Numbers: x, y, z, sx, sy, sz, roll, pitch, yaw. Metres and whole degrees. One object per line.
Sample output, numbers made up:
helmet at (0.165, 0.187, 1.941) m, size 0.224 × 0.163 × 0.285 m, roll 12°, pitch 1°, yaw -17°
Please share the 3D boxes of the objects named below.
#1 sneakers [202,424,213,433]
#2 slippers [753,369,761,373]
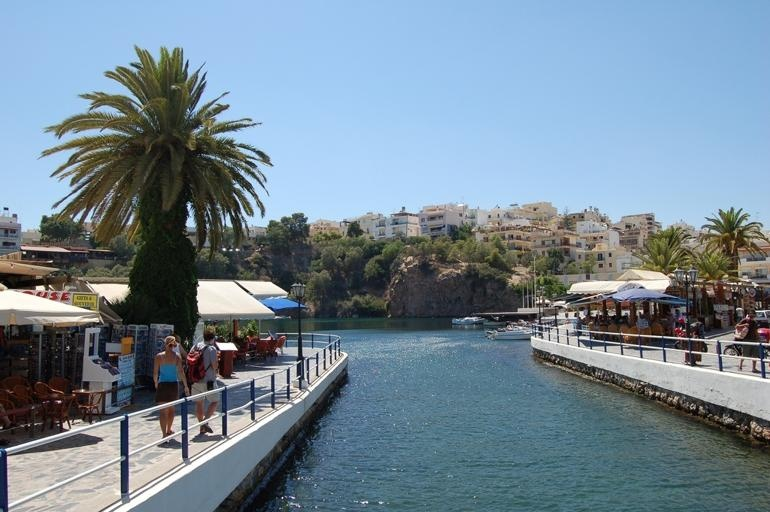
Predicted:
sneakers at (-4.776, 4.719, 16.020) m, size 0.140 × 0.256 × 0.385 m, roll -1°, pitch -1°, yaw 25°
slippers at (13.102, 4.116, 20.980) m, size 0.209 × 0.074 × 0.743 m, roll -2°, pitch -1°, yaw 30°
